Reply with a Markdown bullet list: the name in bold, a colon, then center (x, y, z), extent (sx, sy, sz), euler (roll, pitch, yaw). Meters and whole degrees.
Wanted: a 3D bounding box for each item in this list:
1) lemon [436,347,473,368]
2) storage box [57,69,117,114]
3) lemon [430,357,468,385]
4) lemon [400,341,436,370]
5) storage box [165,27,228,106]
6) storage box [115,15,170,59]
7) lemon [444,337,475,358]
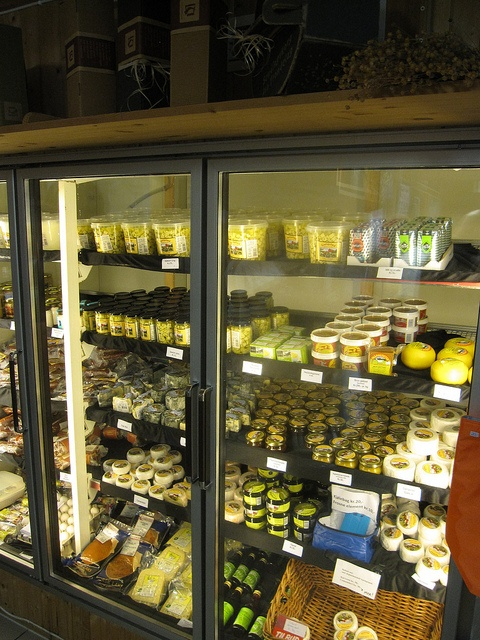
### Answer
- **lemon**: center (0.572, 0.086, 1.334), extent (0.073, 0.041, 0.056), euler (5, 18, 40)
- **storage box**: center (-0.507, -0.756, 1.644), extent (0.172, 0.147, 0.167), euler (-5, 26, -14)
- **lemon**: center (0.545, 0.136, 1.292), extent (0.075, 0.068, 0.069), euler (-18, 39, 26)
- **lemon**: center (0.491, 0.094, 1.394), extent (0.081, 0.055, 0.078), euler (5, 6, 23)
- **storage box**: center (-0.098, -0.713, 1.365), extent (0.148, 0.237, 0.149), euler (10, 21, 23)
- **storage box**: center (-0.296, -0.847, 1.525), extent (0.137, 0.093, 0.135), euler (-13, 22, -37)
- **lemon**: center (0.610, 0.072, 1.371), extent (0.051, 0.022, 0.051), euler (6, 19, 34)
